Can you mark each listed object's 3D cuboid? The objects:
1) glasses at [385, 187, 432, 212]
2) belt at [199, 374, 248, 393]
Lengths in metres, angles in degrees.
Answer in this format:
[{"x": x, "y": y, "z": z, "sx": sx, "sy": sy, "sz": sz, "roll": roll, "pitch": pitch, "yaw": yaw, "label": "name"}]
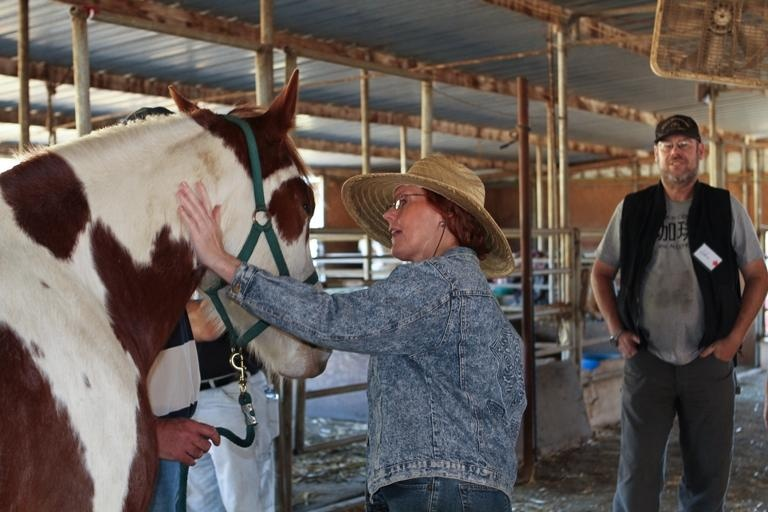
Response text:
[{"x": 0.128, "y": -0.328, "z": 6.761, "sx": 0.152, "sy": 0.050, "sz": 0.151, "roll": -1, "pitch": -30, "yaw": -45, "label": "glasses"}, {"x": -1.007, "y": 0.776, "z": 7.540, "sx": 0.351, "sy": 0.099, "sz": 0.205, "roll": -2, "pitch": -4, "yaw": -30, "label": "belt"}]
